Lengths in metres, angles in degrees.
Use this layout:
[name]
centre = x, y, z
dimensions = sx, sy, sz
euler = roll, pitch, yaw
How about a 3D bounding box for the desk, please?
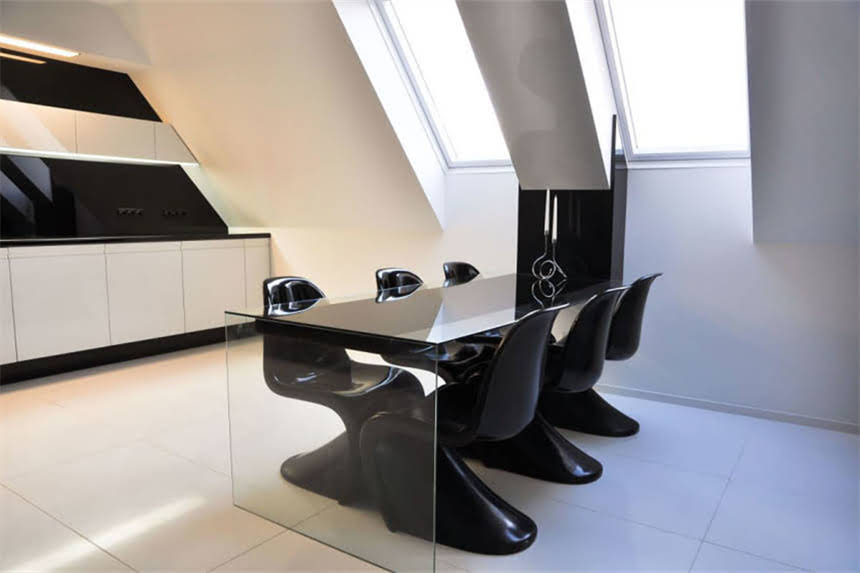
[desk]
centre = -0.159, 0.604, 3.186
dimensions = 1.665, 1.084, 2.133
euler = 9, 15, 34
